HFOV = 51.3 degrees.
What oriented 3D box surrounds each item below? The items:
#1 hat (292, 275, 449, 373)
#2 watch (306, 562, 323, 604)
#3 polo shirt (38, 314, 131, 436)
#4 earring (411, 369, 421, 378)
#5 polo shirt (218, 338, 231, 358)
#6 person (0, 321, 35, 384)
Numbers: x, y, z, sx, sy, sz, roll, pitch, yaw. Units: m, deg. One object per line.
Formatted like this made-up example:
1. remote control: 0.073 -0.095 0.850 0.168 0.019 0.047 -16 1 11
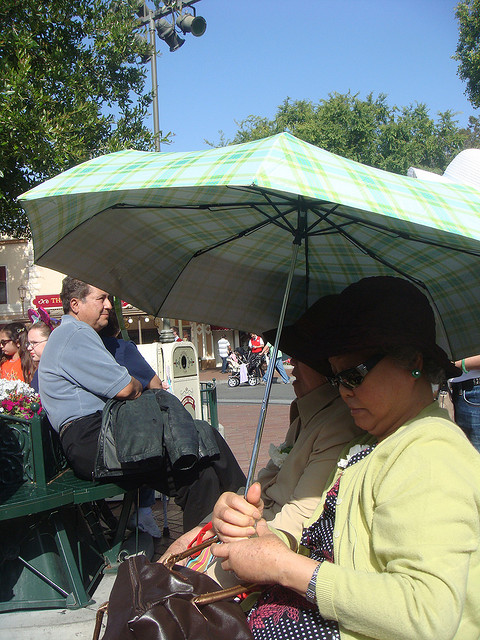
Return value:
1. hat: 0.413 0.003 1.533 0.386 0.195 0.265 7 -18 27
2. watch: 0.167 0.592 1.121 0.032 0.075 0.058 2 1 13
3. polo shirt: -1.113 0.327 3.366 0.468 0.697 0.867 -6 -11 -32
4. earring: 0.500 0.150 1.404 0.032 0.024 0.010 0 2 -27
5. polo shirt: -0.834 1.420 25.074 0.425 0.988 0.903 1 1 -2
6. person: -2.757 0.409 6.166 0.532 0.864 0.788 2 -4 -29
